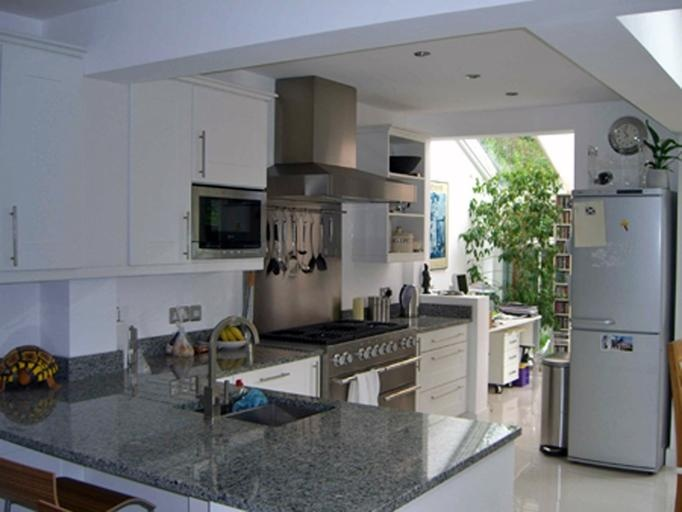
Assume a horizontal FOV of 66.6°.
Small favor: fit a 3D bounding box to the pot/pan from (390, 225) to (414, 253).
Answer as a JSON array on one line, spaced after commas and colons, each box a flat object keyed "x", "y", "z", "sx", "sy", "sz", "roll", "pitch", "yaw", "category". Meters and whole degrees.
[{"x": 0.683, "y": -0.158, "z": 5.411, "sx": 0.202, "sy": 0.314, "sz": 0.278, "roll": 1, "pitch": 4, "yaw": 24, "category": "pot/pan"}]

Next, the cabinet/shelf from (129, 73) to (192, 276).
[{"x": -1.159, "y": -0.275, "z": 3.373, "sx": 0.341, "sy": 0.377, "sz": 0.784, "roll": 10, "pitch": 25, "yaw": -21, "category": "cabinet/shelf"}]

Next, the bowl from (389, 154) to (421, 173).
[{"x": 0.643, "y": -0.940, "z": 5.350, "sx": 0.214, "sy": 0.094, "sz": 0.225, "roll": -1, "pitch": 0, "yaw": 0, "category": "bowl"}]

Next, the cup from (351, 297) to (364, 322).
[{"x": 0.176, "y": 0.523, "z": 5.174, "sx": 0.129, "sy": 0.211, "sz": 0.345, "roll": 1, "pitch": 2, "yaw": 2, "category": "cup"}]

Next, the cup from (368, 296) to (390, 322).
[{"x": 0.360, "y": 0.521, "z": 5.225, "sx": 0.225, "sy": 0.274, "sz": 0.191, "roll": -4, "pitch": 7, "yaw": -36, "category": "cup"}]

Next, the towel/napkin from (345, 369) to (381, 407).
[{"x": 0.185, "y": 1.053, "z": 4.137, "sx": 0.111, "sy": 0.257, "sz": 0.350, "roll": 2, "pitch": 2, "yaw": 45, "category": "towel/napkin"}]

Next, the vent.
[{"x": -0.038, "y": -0.969, "z": 4.489, "sx": 0.675, "sy": 1.044, "sz": 1.419, "roll": 3, "pitch": 5, "yaw": 31, "category": "vent"}]

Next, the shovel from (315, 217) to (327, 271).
[{"x": -0.184, "y": -0.103, "z": 4.856, "sx": 0.026, "sy": 0.492, "sz": 0.136, "roll": 1, "pitch": 2, "yaw": 35, "category": "shovel"}]

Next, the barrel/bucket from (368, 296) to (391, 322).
[{"x": 0.377, "y": 0.530, "z": 5.183, "sx": 0.201, "sy": 0.229, "sz": 0.145, "roll": 1, "pitch": 1, "yaw": -2, "category": "barrel/bucket"}]

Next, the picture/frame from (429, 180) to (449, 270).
[{"x": 1.382, "y": -0.430, "z": 7.247, "sx": 0.122, "sy": 1.236, "sz": 0.667, "roll": 1, "pitch": 2, "yaw": 28, "category": "picture/frame"}]

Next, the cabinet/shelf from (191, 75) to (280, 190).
[{"x": -0.861, "y": -0.811, "z": 3.612, "sx": 0.396, "sy": 0.636, "sz": 0.639, "roll": 9, "pitch": 11, "yaw": 39, "category": "cabinet/shelf"}]

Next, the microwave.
[{"x": -0.838, "y": -0.211, "z": 3.592, "sx": 0.589, "sy": 0.476, "sz": 0.308, "roll": 0, "pitch": -2, "yaw": -40, "category": "microwave"}]

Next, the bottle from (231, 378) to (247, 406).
[{"x": -0.530, "y": 0.719, "z": 2.707, "sx": 0.037, "sy": 0.109, "sz": 0.071, "roll": 15, "pitch": -10, "yaw": -37, "category": "bottle"}]

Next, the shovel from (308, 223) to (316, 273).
[{"x": -0.267, "y": -0.080, "z": 4.760, "sx": 0.032, "sy": 0.427, "sz": 0.101, "roll": 1, "pitch": 1, "yaw": 21, "category": "shovel"}]
